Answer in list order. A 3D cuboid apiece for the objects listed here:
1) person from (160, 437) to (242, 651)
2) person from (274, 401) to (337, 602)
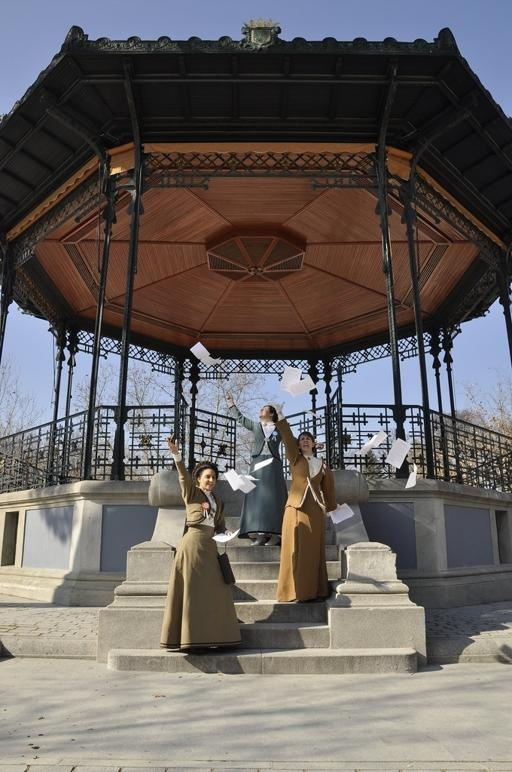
[{"bbox_3d":[-0.439,1.262,4.357,0.680,1.627,0.631,3,-11,-19],"label":"person"},{"bbox_3d":[0.448,1.110,5.108,0.456,1.691,0.630,-8,-13,35],"label":"person"}]
